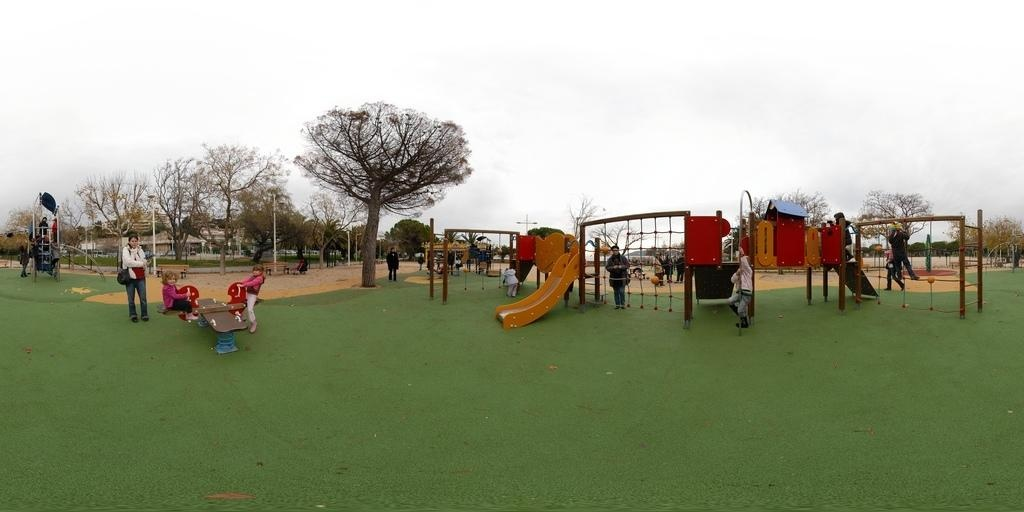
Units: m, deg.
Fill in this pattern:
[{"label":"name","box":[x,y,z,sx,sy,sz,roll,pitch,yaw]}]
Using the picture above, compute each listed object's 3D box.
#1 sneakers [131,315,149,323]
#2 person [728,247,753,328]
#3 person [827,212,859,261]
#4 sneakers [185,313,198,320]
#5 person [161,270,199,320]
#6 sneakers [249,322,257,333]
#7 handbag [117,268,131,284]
[{"label":"sneakers","box":[-13.237,2.287,25.510,0.714,0.256,0.221,-8,10,21]},{"label":"person","box":[8.185,1.126,25.305,0.796,2.753,1.433,-1,3,17]},{"label":"person","box":[12.719,-0.672,27.091,0.743,1.806,1.252,-1,3,27]},{"label":"sneakers","box":[-10.986,2.107,24.565,0.431,0.254,0.235,0,8,32]},{"label":"person","box":[-11.375,1.418,24.530,1.103,1.715,0.816,-3,3,-22]},{"label":"sneakers","box":[-9.062,2.541,25.198,0.191,0.145,0.412,29,30,-22]},{"label":"handbag","box":[-13.767,0.753,25.402,0.514,0.544,0.264,-2,3,-2]}]
